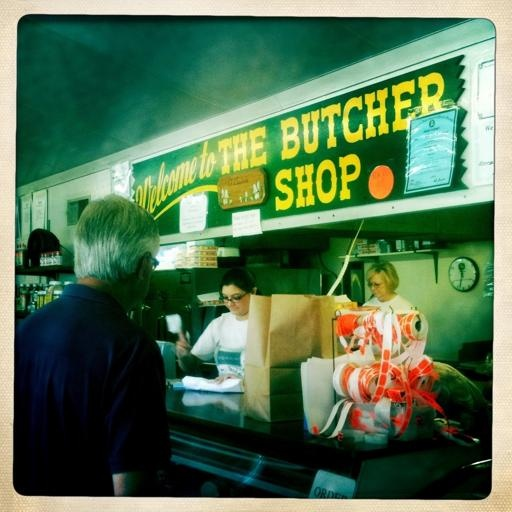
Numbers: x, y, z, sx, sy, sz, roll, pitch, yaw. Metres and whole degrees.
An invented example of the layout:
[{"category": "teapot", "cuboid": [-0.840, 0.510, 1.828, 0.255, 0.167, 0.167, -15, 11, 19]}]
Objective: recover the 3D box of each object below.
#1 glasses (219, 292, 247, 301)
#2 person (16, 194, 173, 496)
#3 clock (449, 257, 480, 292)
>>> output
[{"category": "glasses", "cuboid": [-0.123, 0.224, 2.857, 0.136, 0.059, 0.043, 2, 7, 21]}, {"category": "person", "cuboid": [-0.457, 0.241, 1.402, 0.423, 0.803, 0.297, -2, 7, -11]}, {"category": "clock", "cuboid": [1.536, 0.130, 3.826, 0.034, 0.250, 0.219, -3, -8, -30]}]
